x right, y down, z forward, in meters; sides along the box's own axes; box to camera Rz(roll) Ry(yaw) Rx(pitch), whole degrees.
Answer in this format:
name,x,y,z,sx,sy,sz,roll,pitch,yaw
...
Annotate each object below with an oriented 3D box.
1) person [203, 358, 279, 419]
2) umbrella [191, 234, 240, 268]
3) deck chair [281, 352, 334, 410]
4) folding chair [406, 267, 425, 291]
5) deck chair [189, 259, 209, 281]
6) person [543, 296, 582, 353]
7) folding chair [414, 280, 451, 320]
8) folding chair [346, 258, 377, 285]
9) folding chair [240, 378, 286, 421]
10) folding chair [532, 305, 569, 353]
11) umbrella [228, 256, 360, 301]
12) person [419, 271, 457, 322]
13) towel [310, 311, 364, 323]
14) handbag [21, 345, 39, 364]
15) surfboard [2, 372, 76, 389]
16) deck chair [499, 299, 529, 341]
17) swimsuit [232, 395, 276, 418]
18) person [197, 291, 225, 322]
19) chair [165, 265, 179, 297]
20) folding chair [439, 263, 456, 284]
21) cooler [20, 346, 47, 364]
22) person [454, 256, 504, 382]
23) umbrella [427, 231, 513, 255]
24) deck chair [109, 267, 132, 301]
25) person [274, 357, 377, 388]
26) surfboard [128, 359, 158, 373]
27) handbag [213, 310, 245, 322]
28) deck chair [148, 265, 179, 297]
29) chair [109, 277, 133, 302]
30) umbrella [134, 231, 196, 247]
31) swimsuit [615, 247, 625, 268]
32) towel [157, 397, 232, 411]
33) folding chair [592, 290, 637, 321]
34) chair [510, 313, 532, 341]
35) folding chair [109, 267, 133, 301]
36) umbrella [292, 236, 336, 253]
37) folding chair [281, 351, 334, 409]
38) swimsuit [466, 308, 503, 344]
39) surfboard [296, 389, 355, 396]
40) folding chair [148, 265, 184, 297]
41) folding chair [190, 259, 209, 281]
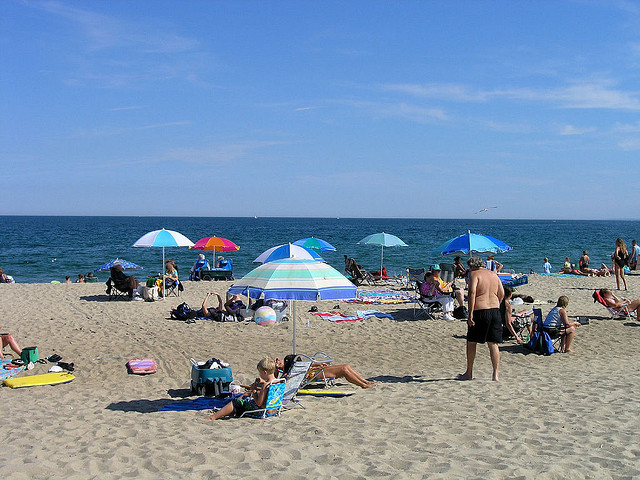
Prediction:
name,x,y,z,sx,sy,sz,roll,pitch,yaw
person,-1.216,2.235,10.465,1.249,0.785,0.530,0,14,-22
umbrella,-3.907,0.430,25.823,1.746,1.059,1.598,0,-2,5
deck chair,-0.298,2.173,11.026,0.588,0.925,0.755,8,-8,-35
folding chair,2.813,1.109,20.543,0.687,0.720,0.591,0,-6,2
deck chair,-4.654,1.138,26.526,0.784,1.237,0.954,3,-3,-6
person,4.676,1.657,13.624,0.725,1.072,0.385,-1,9,-1
folding chair,2.780,1.527,17.359,0.926,1.032,0.821,-1,4,10
folding chair,1.407,1.056,24.434,1.018,0.841,0.670,-1,6,-3
folding chair,-0.877,2.403,10.543,0.645,0.628,0.446,-6,-9,34
folding chair,4.441,1.696,13.746,0.717,0.804,0.646,-1,-3,6
umbrella,-0.456,0.572,11.591,2.025,0.662,2.023,-2,3,-41
person,2.879,1.298,17.205,1.080,1.153,0.607,12,32,14
towel,0.418,1.883,17.072,0.831,0.090,1.383,-5,9,-28
handbag,-5.442,2.153,12.946,0.303,0.254,0.277,4,-7,-43
surfboard,-4.880,2.435,12.065,1.137,0.095,0.482,-4,8,-25
deck chair,4.094,1.722,14.497,0.686,0.753,0.710,18,8,22
swimsuit,-1.058,2.525,10.453,0.507,0.165,0.306,18,-12,33
person,-2.808,1.723,17.765,0.710,0.433,1.268,12,6,0
chair,-4.404,1.399,20.670,0.493,0.734,0.459,2,-5,-20
folding chair,3.621,0.929,19.747,0.566,0.513,0.678,2,7,23
cooler,-5.373,2.144,12.993,0.341,0.190,0.224,3,-2,-3
person,2.718,1.334,11.807,0.703,2.160,0.537,1,9,12
umbrella,4.150,0.087,18.640,1.548,0.516,0.982,-1,8,-5
deck chair,-5.574,1.337,19.322,0.710,0.831,0.632,-1,2,-7
person,0.062,2.235,11.620,1.694,0.376,0.435,9,-7,4
surfboard,-3.265,2.339,12.803,0.493,0.112,0.547,-3,8,-15
handbag,-2.206,1.825,16.542,0.524,0.160,0.297,3,1,5
deck chair,-4.538,1.252,20.737,0.874,1.087,0.702,7,-8,-26
chair,-5.628,1.367,19.409,0.702,0.824,0.705,1,-3,-42
umbrella,-4.308,0.011,18.882,0.930,0.459,1.516,5,10,35
swimsuit,8.754,0.553,20.313,0.267,0.600,0.533,1,9,14
towel,-1.996,2.598,11.121,1.059,0.083,0.667,-1,8,-2
folding chair,6.868,1.573,16.359,0.835,0.532,0.559,-1,4,19
chair,4.236,1.805,14.783,0.516,0.537,0.520,-4,-23,12
folding chair,-5.607,1.207,19.457,0.616,0.884,0.664,-3,9,-17
umbrella,-0.173,0.187,31.712,1.709,0.574,1.575,1,-1,2
folding chair,-0.331,2.184,10.977,0.755,0.864,0.634,1,-3,19
swimsuit,2.749,1.417,11.754,0.679,0.569,0.392,2,-3,-21
surfboard,0.059,2.488,11.380,1.148,0.086,0.207,0,1,5
folding chair,-4.344,1.324,20.814,0.825,0.993,0.774,8,-10,-42
folding chair,-4.604,1.087,26.025,0.546,0.747,0.706,3,9,24
